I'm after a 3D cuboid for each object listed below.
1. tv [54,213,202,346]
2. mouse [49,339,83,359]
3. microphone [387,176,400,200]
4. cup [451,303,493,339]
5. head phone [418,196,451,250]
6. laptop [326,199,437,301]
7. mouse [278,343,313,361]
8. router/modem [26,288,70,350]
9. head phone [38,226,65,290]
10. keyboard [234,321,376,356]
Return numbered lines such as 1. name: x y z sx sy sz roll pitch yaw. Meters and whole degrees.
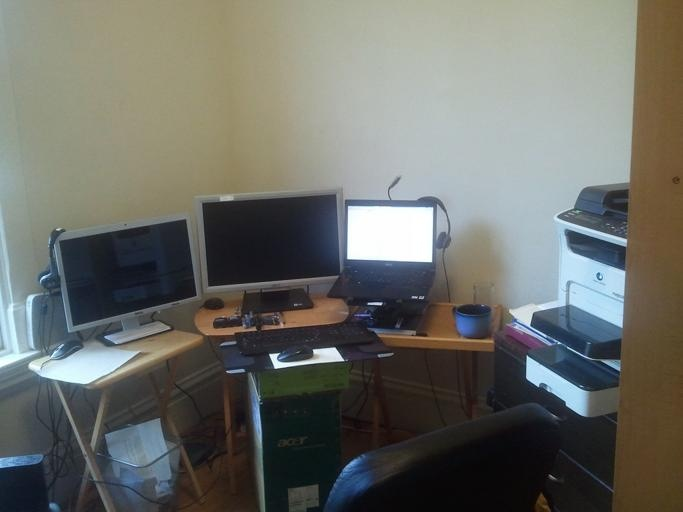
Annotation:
1. tv: -0.938 0.073 2.353 0.132 0.556 0.571 12 17 41
2. mouse: -1.162 0.388 2.274 0.067 0.031 0.098 10 10 22
3. microphone: 0.262 -0.330 2.654 0.078 0.124 0.249 -1 13 5
4. cup: 0.550 0.263 2.275 0.112 0.108 0.148 -4 7 -27
5. head phone: 0.441 -0.159 2.559 0.203 0.280 0.096 -5 10 40
6. laptop: 0.220 -0.047 2.579 0.436 0.509 0.226 10 15 26
7. mouse: -0.181 0.378 2.122 0.100 0.034 0.063 0 6 -17
8. router/modem: -1.291 0.282 2.361 0.165 0.249 0.075 -11 15 -35
9. head phone: -1.216 0.027 2.261 0.101 0.286 0.183 -11 15 -37
10. keyboard: -0.145 0.344 2.268 0.577 0.043 0.275 -5 14 -15
